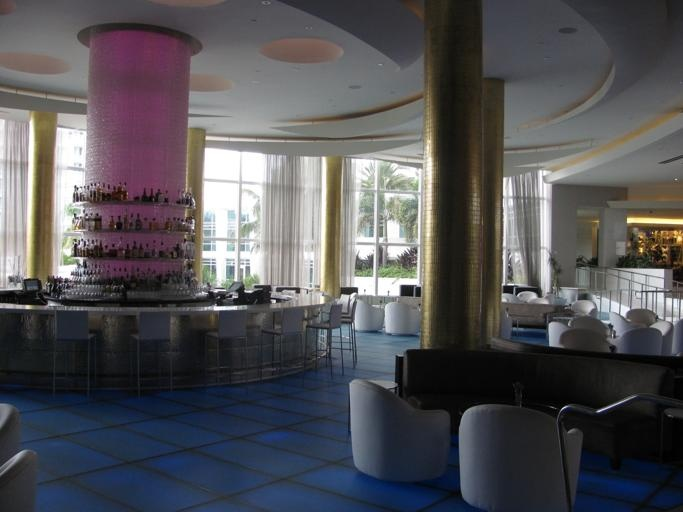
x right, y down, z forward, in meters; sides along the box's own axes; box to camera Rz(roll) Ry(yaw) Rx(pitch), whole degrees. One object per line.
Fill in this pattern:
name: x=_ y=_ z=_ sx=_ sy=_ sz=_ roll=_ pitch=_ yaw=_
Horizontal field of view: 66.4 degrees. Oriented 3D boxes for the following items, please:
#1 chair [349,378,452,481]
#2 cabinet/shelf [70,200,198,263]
chair: x=0.479 y=1.465 z=4.796 sx=0.847 sy=0.885 sz=0.928 roll=-3 pitch=4 yaw=-38
cabinet/shelf: x=-3.408 y=-0.359 z=8.555 sx=1.422 sy=0.700 sz=1.019 roll=1 pitch=-3 yaw=-11
